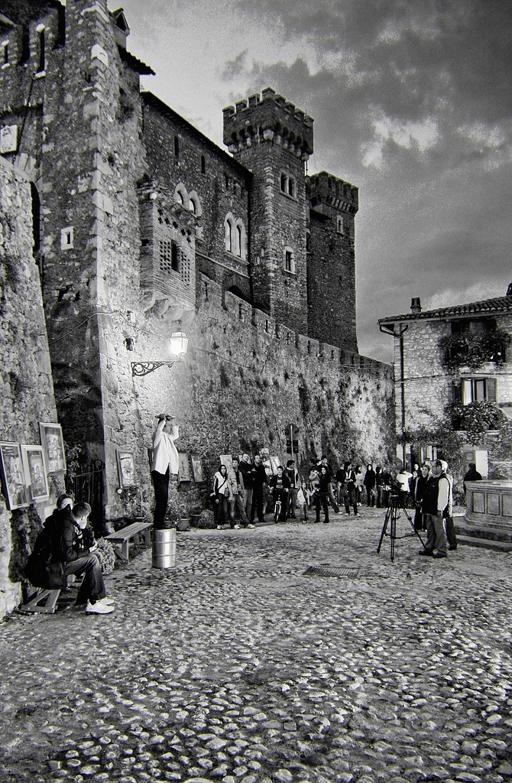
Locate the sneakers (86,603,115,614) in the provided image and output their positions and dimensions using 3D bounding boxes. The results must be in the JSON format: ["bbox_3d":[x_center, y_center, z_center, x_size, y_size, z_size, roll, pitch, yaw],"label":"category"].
[{"bbox_3d":[-1.429,1.986,6.361,0.237,0.136,0.114,1,6,-7],"label":"sneakers"}]

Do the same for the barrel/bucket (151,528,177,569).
[{"bbox_3d":[-1.146,1.988,8.760,0.369,0.660,0.417,1,-5,-7],"label":"barrel/bucket"}]

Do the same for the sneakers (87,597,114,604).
[{"bbox_3d":[-1.417,1.980,6.519,0.155,0.073,0.056,6,12,-30],"label":"sneakers"}]

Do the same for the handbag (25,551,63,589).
[{"bbox_3d":[-1.949,1.692,6.440,0.362,0.345,0.210,2,-4,-23],"label":"handbag"}]

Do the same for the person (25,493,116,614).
[{"bbox_3d":[-1.725,1.614,6.786,0.994,1.489,0.627,1,-4,-21],"label":"person"}]
